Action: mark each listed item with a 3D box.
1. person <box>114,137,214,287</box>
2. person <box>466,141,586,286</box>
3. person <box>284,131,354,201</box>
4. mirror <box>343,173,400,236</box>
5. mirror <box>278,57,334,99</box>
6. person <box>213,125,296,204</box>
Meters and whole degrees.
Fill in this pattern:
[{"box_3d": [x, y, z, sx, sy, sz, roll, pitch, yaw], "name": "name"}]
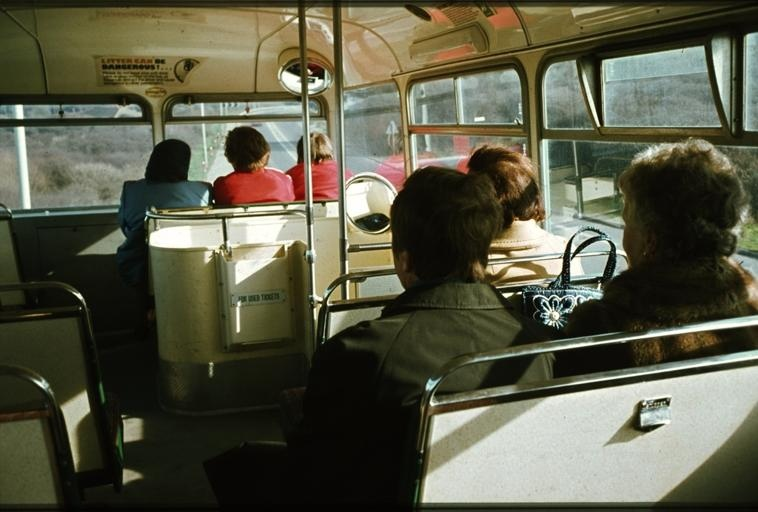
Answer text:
[{"box_3d": [-2.174, -0.459, 6.862, 1.096, 1.465, 0.894, 6, 19, -11], "name": "person"}, {"box_3d": [0.795, -0.207, 4.192, 1.048, 0.927, 0.522, -11, 13, -42], "name": "person"}, {"box_3d": [-0.671, -0.685, 6.695, 0.559, 1.115, 0.602, -4, 33, -17], "name": "person"}, {"box_3d": [-0.189, -0.476, 6.558, 0.666, 0.247, 0.695, -3, -15, -22], "name": "mirror"}, {"box_3d": [-0.862, -2.053, 7.630, 0.469, 0.373, 0.815, 4, 8, 34], "name": "mirror"}, {"box_3d": [-1.229, -0.849, 6.263, 0.857, 0.749, 0.496, -8, 29, -29], "name": "person"}]
